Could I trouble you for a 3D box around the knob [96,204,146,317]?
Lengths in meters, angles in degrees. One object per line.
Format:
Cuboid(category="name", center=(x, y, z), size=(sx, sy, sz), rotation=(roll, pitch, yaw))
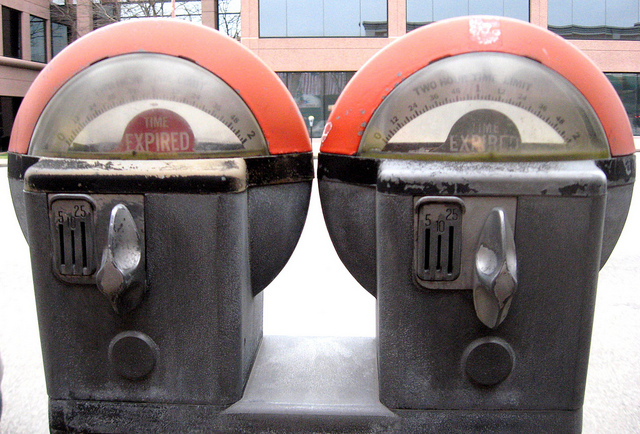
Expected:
Cuboid(category="knob", center=(-0.678, 0.133, 2.263), size=(0.133, 0.375, 0.150), rotation=(-4, 2, -25))
